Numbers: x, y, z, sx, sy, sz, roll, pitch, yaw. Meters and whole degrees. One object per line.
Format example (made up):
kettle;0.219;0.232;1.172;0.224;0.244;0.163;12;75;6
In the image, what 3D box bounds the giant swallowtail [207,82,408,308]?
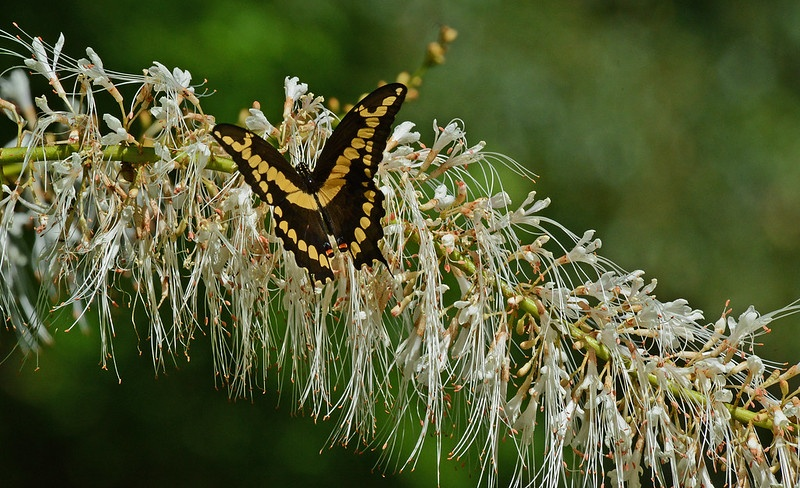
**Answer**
giant swallowtail;-0.381;-0.316;3.615;0.749;0.889;0.313;11;-10;5
